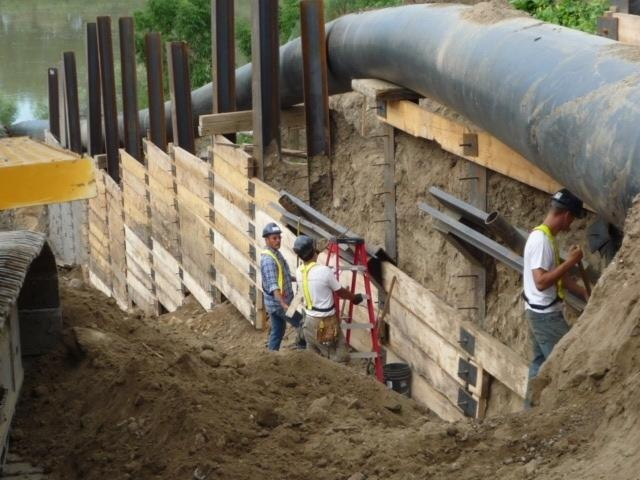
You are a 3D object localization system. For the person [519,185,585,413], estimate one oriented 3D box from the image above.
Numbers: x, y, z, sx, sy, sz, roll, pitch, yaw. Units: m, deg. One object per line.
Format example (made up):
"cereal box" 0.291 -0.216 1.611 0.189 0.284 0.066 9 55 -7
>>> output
"person" 2.332 0.422 9.978 0.614 1.924 0.893 -2 24 -2

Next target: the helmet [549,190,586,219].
"helmet" 2.439 -0.348 9.756 0.294 0.166 0.214 38 -2 -22

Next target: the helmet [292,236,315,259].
"helmet" -0.170 0.090 11.452 0.265 0.197 0.142 48 10 16

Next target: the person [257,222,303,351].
"person" -0.491 0.545 12.648 0.469 1.557 0.659 -13 42 -6

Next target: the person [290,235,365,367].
"person" 0.016 0.697 11.492 0.748 1.342 0.407 11 26 24

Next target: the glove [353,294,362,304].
"glove" 0.448 0.694 11.552 0.078 0.094 0.112 -6 8 7
